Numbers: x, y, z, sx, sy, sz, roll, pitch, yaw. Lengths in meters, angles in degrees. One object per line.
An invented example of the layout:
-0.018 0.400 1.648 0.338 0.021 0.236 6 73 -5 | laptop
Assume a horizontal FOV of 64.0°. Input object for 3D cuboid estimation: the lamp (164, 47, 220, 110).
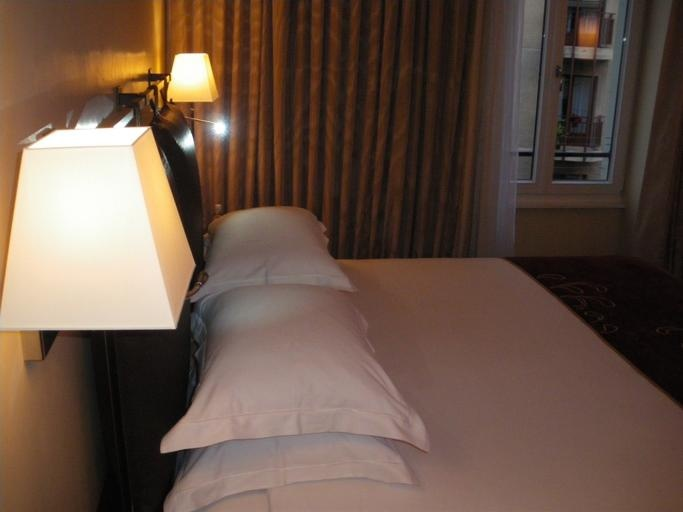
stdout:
-0.735 -0.849 2.723 0.233 0.252 0.245 -1 0 -11 | lamp
